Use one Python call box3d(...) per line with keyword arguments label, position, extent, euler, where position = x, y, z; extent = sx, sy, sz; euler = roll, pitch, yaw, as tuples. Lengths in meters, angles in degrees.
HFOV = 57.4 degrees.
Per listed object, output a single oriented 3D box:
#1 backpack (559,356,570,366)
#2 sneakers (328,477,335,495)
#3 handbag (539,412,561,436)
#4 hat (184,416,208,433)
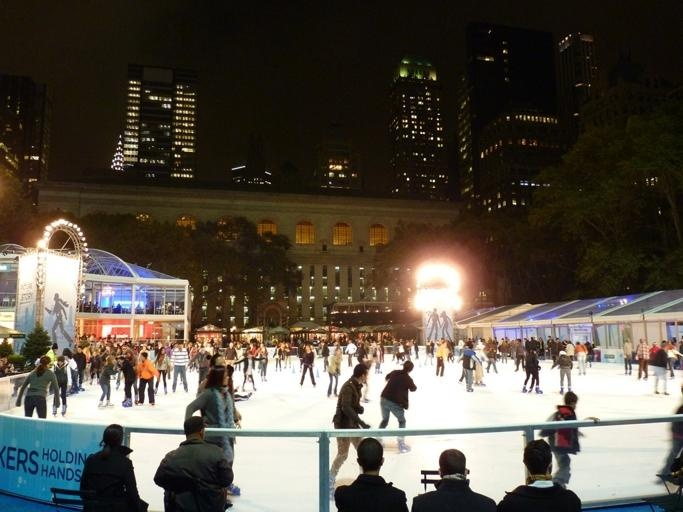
box3d(label="backpack", position=(7.570, 3.559, 21.139), extent=(0.269, 0.360, 0.363), euler=(14, -18, -11))
box3d(label="sneakers", position=(-0.138, 3.258, 8.751), extent=(0.084, 0.271, 0.163), euler=(1, -7, 0))
box3d(label="handbag", position=(3.174, 2.607, 9.609), extent=(0.247, 0.250, 1.272), euler=(-2, -8, 20))
box3d(label="hat", position=(-1.942, 2.216, 8.244), extent=(0.181, 0.213, 0.261), euler=(2, 6, 8))
